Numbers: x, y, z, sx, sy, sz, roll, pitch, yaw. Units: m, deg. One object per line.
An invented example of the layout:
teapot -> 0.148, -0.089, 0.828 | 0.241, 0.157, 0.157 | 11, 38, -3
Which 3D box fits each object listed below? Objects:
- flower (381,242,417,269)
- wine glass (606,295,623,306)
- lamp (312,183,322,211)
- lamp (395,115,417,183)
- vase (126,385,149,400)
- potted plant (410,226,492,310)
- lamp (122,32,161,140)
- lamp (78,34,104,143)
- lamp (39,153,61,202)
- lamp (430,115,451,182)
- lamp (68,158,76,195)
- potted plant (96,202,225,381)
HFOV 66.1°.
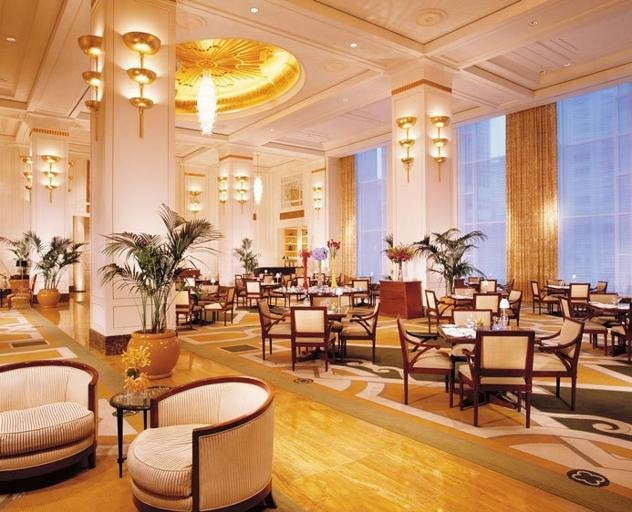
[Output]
flower -> 1.977, -0.019, 10.848 | 0.578, 0.512, 0.551 | 1, -2, -35
wine glass -> 5.074, 0.757, 8.265 | 0.145, 0.150, 0.169 | 1, -3, -4
lamp -> 0.103, -2.195, 18.282 | 0.189, 0.947, 0.420 | 1, -2, -43
lamp -> 1.982, -2.332, 10.625 | 0.428, 1.333, 0.619 | 0, -1, 10
vase -> -1.473, 1.128, 4.015 | 0.128, 0.083, 0.121 | 1, -7, -8
potted plant -> 3.096, 0.160, 11.021 | 2.069, 1.654, 2.062 | -1, -6, 12
lamp -> -2.520, -2.502, 7.017 | 0.539, 1.390, 0.833 | 1, -1, -19
lamp -> -3.277, -2.494, 7.234 | 0.465, 1.359, 0.419 | -1, 14, -21
lamp -> -7.476, -2.163, 13.716 | 0.548, 1.166, 0.504 | 3, 12, -12
lamp -> 2.704, -2.327, 10.572 | 0.404, 1.315, 0.820 | 0, -1, 13
lamp -> -8.693, -2.864, 17.354 | 0.215, 1.093, 0.375 | 1, -1, -25
potted plant -> -2.078, 0.532, 6.630 | 2.198, 2.333, 1.902 | -3, -5, -3
